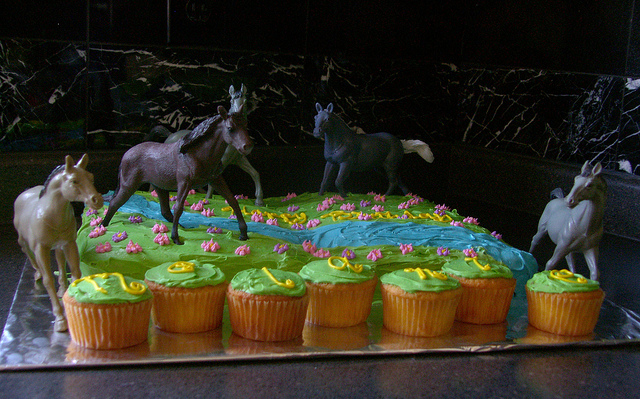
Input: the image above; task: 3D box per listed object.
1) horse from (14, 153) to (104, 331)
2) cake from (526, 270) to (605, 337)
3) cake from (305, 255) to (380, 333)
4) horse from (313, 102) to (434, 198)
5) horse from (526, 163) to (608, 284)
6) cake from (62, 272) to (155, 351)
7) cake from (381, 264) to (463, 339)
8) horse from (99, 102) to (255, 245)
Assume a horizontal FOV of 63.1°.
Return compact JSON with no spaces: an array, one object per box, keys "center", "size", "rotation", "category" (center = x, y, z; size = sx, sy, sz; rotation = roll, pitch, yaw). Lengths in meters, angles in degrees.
[{"center":[-2.080,0.277,4.052],"size":[0.413,1.192,1.710],"rotation":[-7,9,-40],"category":"horse"},{"center":[1.838,0.738,3.969],"size":[0.497,0.338,0.483],"rotation":[2,7,16],"category":"cake"},{"center":[0.139,0.699,3.909],"size":[0.511,0.433,0.369],"rotation":[9,19,16],"category":"cake"},{"center":[0.615,-0.565,6.468],"size":[1.897,1.184,0.498],"rotation":[-4,3,-34],"category":"horse"},{"center":[2.233,0.124,4.608],"size":[0.503,1.010,0.652],"rotation":[10,19,15],"category":"horse"},{"center":[-1.421,0.755,3.502],"size":[0.531,0.360,0.512],"rotation":[-4,11,-29],"category":"cake"},{"center":[0.720,0.751,3.946],"size":[0.531,0.374,0.508],"rotation":[0,3,-2],"category":"cake"},{"center":[-1.184,-0.251,4.453],"size":[1.268,1.179,0.567],"rotation":[9,19,15],"category":"horse"}]
